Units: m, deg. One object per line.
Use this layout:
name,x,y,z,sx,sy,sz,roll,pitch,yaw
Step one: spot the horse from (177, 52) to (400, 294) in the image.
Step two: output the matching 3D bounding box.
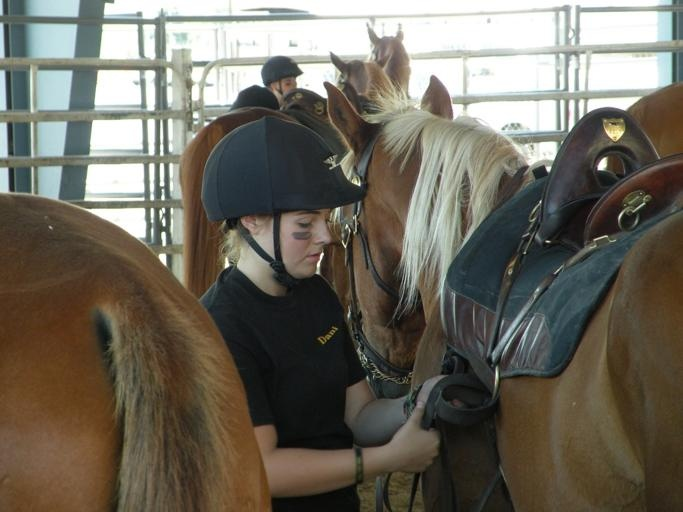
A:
horse,-0.146,-0.328,6.614,1.602,1.304,0.406,-8,12,-36
